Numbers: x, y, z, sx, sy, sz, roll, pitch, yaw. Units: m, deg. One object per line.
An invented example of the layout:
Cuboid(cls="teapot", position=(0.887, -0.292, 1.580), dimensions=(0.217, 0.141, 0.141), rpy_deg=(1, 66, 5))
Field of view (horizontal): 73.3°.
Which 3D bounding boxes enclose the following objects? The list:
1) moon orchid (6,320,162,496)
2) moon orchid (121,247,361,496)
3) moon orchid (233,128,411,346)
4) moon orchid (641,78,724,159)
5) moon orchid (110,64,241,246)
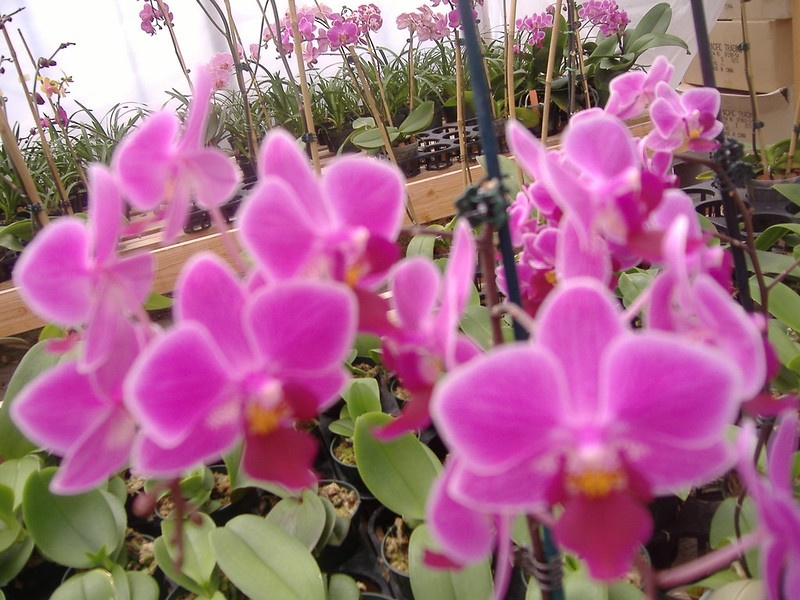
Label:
Cuboid(cls="moon orchid", position=(-0.169, 0.056, 0.304), dimensions=(0.076, 0.090, 0.039), rpy_deg=(-18, -13, 35))
Cuboid(cls="moon orchid", position=(-0.075, 0.035, 0.257), dimensions=(0.119, 0.113, 0.057), rpy_deg=(-10, 16, 2))
Cuboid(cls="moon orchid", position=(-0.042, -0.033, 0.290), dimensions=(0.099, 0.053, 0.100), rpy_deg=(-3, -6, -8))
Cuboid(cls="moon orchid", position=(0.301, -0.189, 0.562), dimensions=(0.096, 0.043, 0.101), rpy_deg=(22, 17, 40))
Cuboid(cls="moon orchid", position=(-0.130, -0.079, 0.309), dimensions=(0.075, 0.081, 0.058), rpy_deg=(-2, -1, 16))
